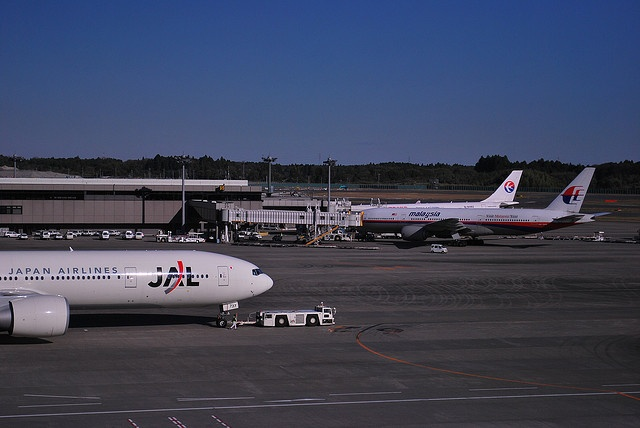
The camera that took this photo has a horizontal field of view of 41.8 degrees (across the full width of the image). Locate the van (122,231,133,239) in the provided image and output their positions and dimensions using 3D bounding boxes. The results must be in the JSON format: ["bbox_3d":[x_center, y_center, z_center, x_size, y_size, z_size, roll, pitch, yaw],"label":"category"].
[{"bbox_3d":[-30.515,3.486,133.159,1.387,0.625,2.265,-1,8,-14],"label":"van"}]

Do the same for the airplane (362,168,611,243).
[{"bbox_3d":[21.961,-1.351,116.524,29.522,10.624,4.527,1,1,13],"label":"airplane"}]

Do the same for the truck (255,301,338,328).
[{"bbox_3d":[-1.823,8.110,65.366,7.413,1.313,1.457,-1,-6,14],"label":"truck"}]

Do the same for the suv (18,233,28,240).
[{"bbox_3d":[-46.555,3.722,131.110,1.362,0.583,2.246,2,12,-14],"label":"suv"}]

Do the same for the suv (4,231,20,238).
[{"bbox_3d":[-49.995,3.430,135.384,2.771,0.743,1.273,-2,6,-7],"label":"suv"}]
